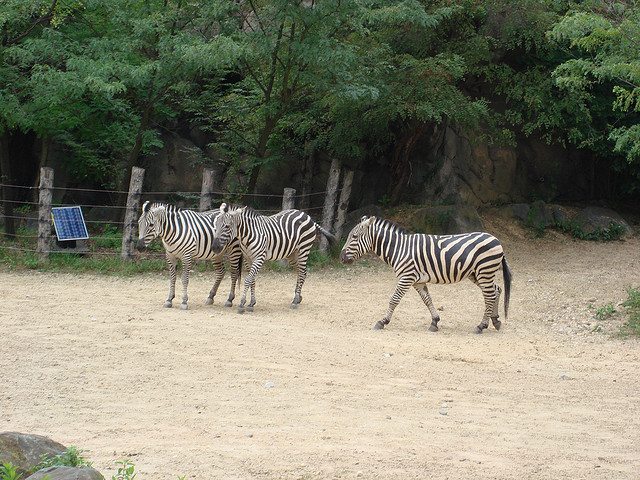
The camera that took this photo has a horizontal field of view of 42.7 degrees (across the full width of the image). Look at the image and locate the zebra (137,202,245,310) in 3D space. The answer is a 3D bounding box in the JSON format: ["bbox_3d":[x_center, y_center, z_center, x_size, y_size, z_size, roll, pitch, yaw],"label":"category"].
[{"bbox_3d":[-2.599,0.321,16.652,0.757,2.079,2.888,-1,-3,40],"label":"zebra"}]

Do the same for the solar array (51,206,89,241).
[{"bbox_3d":[-6.018,-0.412,19.735,0.864,0.608,0.485,2,1,-31],"label":"solar array"}]

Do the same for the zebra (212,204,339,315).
[{"bbox_3d":[-0.961,0.403,17.038,3.179,2.227,0.748,0,2,-40],"label":"zebra"}]
